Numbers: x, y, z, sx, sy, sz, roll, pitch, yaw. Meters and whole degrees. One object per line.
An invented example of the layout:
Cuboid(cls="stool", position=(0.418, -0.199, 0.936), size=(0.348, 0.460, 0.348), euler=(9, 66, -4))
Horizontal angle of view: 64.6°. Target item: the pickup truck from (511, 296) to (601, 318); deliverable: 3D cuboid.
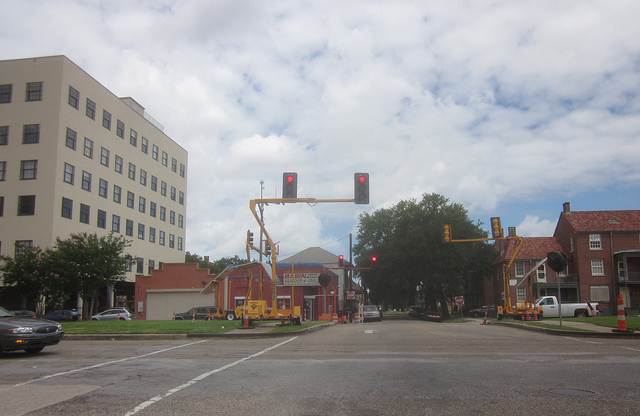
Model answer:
Cuboid(cls="pickup truck", position=(20.143, 8.424, 42.415), size=(5.816, 2.107, 2.722), euler=(0, -11, 9))

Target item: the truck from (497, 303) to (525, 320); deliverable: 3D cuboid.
Cuboid(cls="truck", position=(15.680, 8.479, 41.442), size=(2.193, 1.072, 1.217), euler=(-3, -9, 21))

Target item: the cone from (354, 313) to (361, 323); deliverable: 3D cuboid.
Cuboid(cls="cone", position=(3.530, 10.235, 46.676), size=(0.347, 0.665, 0.353), euler=(-1, -2, -3))

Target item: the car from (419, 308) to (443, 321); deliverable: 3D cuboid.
Cuboid(cls="car", position=(12.039, 11.619, 54.773), size=(1.571, 1.511, 5.798), euler=(-4, -16, 5))

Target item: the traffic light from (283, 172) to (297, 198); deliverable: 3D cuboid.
Cuboid(cls="traffic light", position=(-1.539, -1.135, 25.405), size=(0.620, 1.314, 0.379), euler=(-1, -14, -6))

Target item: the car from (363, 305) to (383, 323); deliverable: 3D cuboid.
Cuboid(cls="car", position=(5.500, 11.131, 53.142), size=(1.942, 1.591, 4.015), euler=(-3, -16, 4))

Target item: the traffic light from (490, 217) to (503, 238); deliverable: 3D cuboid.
Cuboid(cls="traffic light", position=(12.606, 1.387, 36.062), size=(0.643, 1.315, 0.567), euler=(-6, -15, 16))

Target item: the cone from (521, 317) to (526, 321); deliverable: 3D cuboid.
Cuboid(cls="cone", position=(14.215, 7.748, 35.300), size=(0.205, 0.197, 0.204), euler=(5, 0, 1))

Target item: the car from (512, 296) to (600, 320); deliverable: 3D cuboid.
Cuboid(cls="car", position=(20.152, 8.382, 42.755), size=(7.057, 2.558, 3.290), euler=(-1, -11, 11))

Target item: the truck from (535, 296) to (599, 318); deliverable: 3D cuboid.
Cuboid(cls="truck", position=(20.726, 8.503, 42.453), size=(4.612, 1.602, 2.627), euler=(-1, -11, 11))

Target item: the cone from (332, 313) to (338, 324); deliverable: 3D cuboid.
Cuboid(cls="cone", position=(1.178, 8.948, 40.915), size=(0.321, 0.678, 0.710), euler=(0, -15, -8))

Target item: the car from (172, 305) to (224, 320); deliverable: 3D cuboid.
Cuboid(cls="car", position=(-10.944, 9.409, 45.043), size=(3.318, 1.594, 7.420), euler=(4, -17, -21))

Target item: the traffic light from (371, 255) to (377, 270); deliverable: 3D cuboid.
Cuboid(cls="traffic light", position=(4.670, 4.591, 43.767), size=(0.281, 1.207, 0.869), euler=(-1, -15, -3))
